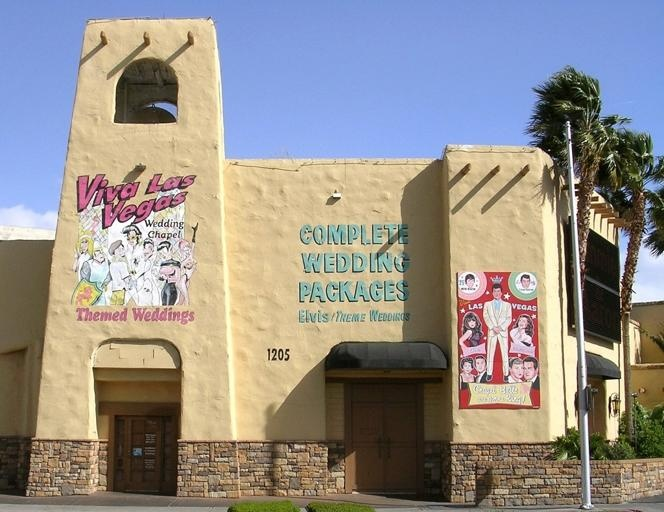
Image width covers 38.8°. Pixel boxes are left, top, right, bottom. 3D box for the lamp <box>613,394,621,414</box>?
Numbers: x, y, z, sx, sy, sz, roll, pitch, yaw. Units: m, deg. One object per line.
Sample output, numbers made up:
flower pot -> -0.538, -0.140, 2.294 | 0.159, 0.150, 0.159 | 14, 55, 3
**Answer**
lamp -> 12.385, 6.477, 41.083 | 0.222, 0.901, 0.825 | -12, -22, 31
